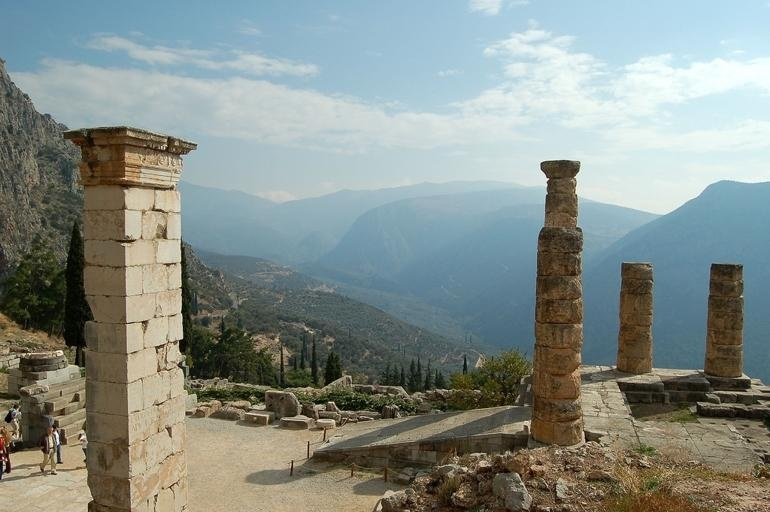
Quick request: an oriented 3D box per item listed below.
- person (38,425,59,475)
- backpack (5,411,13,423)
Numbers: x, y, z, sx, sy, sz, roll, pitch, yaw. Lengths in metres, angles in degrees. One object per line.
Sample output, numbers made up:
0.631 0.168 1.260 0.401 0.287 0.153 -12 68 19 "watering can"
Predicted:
-10.708 6.145 20.205 0.468 1.463 0.593 3 -5 -26 "person"
-12.627 5.347 21.231 0.186 0.463 0.551 4 -5 -39 "backpack"
